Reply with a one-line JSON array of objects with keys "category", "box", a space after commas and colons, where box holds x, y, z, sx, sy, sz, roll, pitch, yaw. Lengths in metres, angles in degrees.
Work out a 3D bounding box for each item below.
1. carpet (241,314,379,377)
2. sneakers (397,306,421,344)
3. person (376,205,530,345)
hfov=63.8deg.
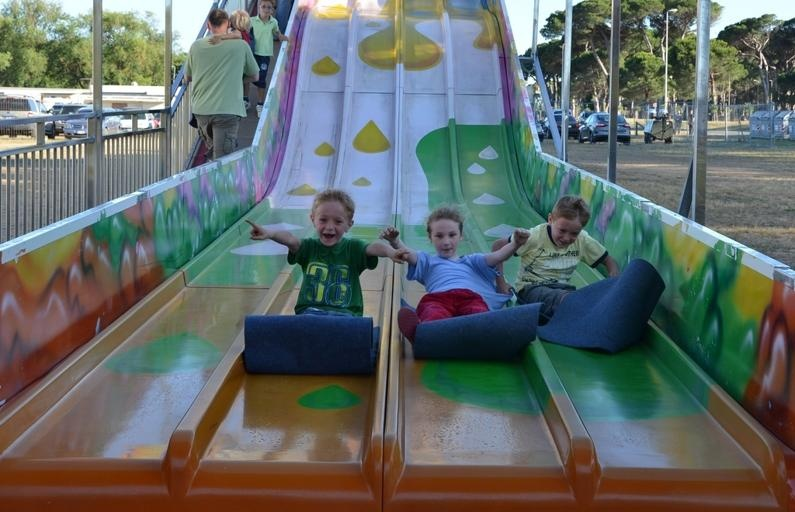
[{"category": "carpet", "box": [-0.334, 0.501, 3.849, 1.040, 0.324, 1.093, -2, -4, 0]}, {"category": "sneakers", "box": [0.062, 0.372, 3.592, 0.108, 0.199, 0.083, -6, 4, -1]}, {"category": "person", "box": [0.372, 0.058, 4.009, 0.707, 0.613, 0.974, 0, 1, 0]}]
